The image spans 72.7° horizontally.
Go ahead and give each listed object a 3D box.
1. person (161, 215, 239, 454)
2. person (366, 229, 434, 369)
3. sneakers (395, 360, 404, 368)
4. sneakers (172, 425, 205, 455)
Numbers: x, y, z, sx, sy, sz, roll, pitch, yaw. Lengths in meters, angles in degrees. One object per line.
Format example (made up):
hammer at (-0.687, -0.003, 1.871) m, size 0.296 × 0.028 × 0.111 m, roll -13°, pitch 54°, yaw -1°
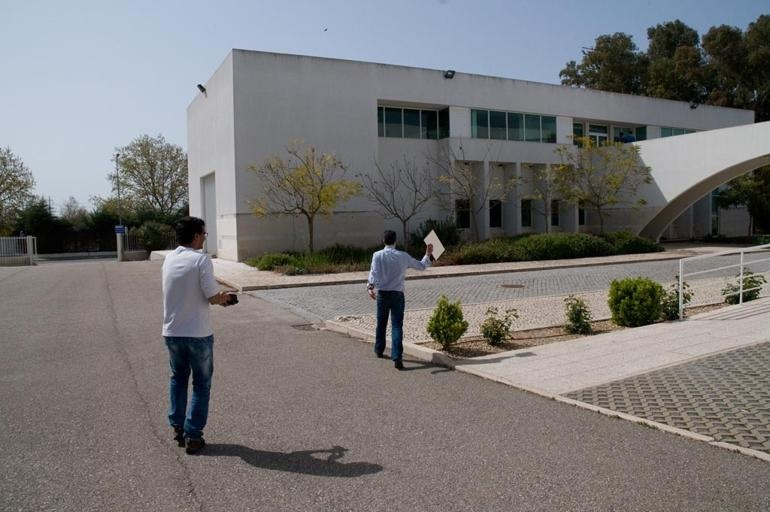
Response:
person at (-2.381, 1.073, 6.526) m, size 0.803 × 2.351 × 0.702 m, roll 8°, pitch 13°, yaw 42°
person at (0.109, 0.697, 9.176) m, size 1.025 × 2.205 × 1.239 m, roll 3°, pitch 11°, yaw 20°
sneakers at (0.229, 1.792, 8.740) m, size 0.189 × 0.153 × 0.065 m, roll -2°, pitch 3°, yaw -34°
sneakers at (-2.361, 2.198, 6.450) m, size 0.174 × 0.247 × 0.524 m, roll 4°, pitch 5°, yaw 17°
